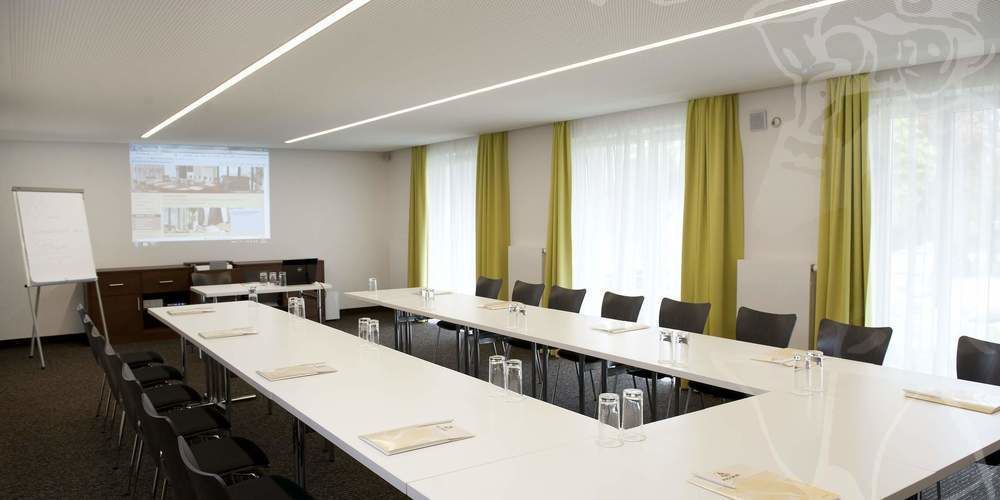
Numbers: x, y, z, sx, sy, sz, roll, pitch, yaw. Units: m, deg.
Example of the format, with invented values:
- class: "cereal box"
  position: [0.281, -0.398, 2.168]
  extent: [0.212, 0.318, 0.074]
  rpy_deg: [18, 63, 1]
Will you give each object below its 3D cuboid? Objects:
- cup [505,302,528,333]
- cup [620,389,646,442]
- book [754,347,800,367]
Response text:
- class: "cup"
  position: [0.187, 0.815, 7.250]
  extent: [0.151, 0.295, 0.361]
  rpy_deg: [3, -3, -29]
- class: "cup"
  position: [1.154, 1.397, 5.192]
  extent: [0.293, 0.437, 0.154]
  rpy_deg: [-6, 6, -38]
- class: "book"
  position: [2.869, 1.104, 6.265]
  extent: [0.283, 0.058, 0.265]
  rpy_deg: [-6, 6, -28]
